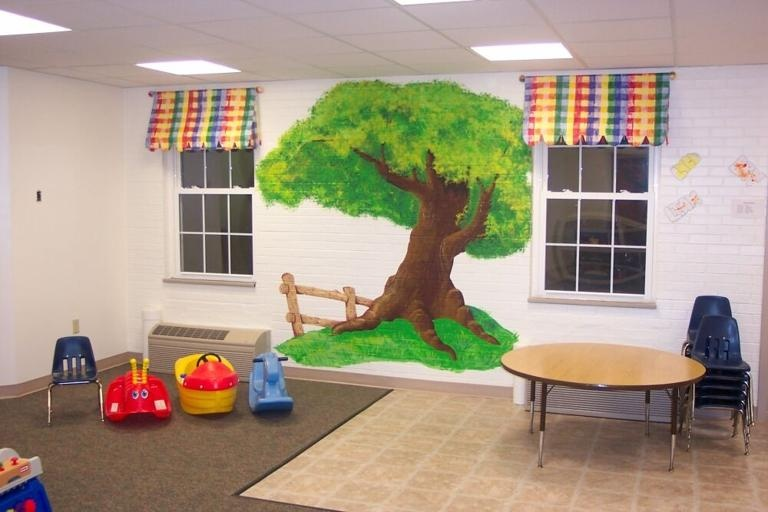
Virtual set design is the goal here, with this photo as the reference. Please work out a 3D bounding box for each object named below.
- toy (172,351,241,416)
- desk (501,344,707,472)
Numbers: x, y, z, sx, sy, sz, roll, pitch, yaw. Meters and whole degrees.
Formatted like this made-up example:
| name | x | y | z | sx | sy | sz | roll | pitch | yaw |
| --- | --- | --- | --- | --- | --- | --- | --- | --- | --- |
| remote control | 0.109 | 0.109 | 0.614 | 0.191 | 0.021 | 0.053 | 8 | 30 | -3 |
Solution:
| name | x | y | z | sx | sy | sz | roll | pitch | yaw |
| --- | --- | --- | --- | --- | --- | --- | --- | --- | --- |
| toy | -2.050 | 1.441 | 6.521 | 0.571 | 0.469 | 0.828 | 0 | 2 | -22 |
| desk | 2.039 | 1.442 | 5.478 | 1.816 | 0.923 | 1.235 | 1 | 9 | 6 |
